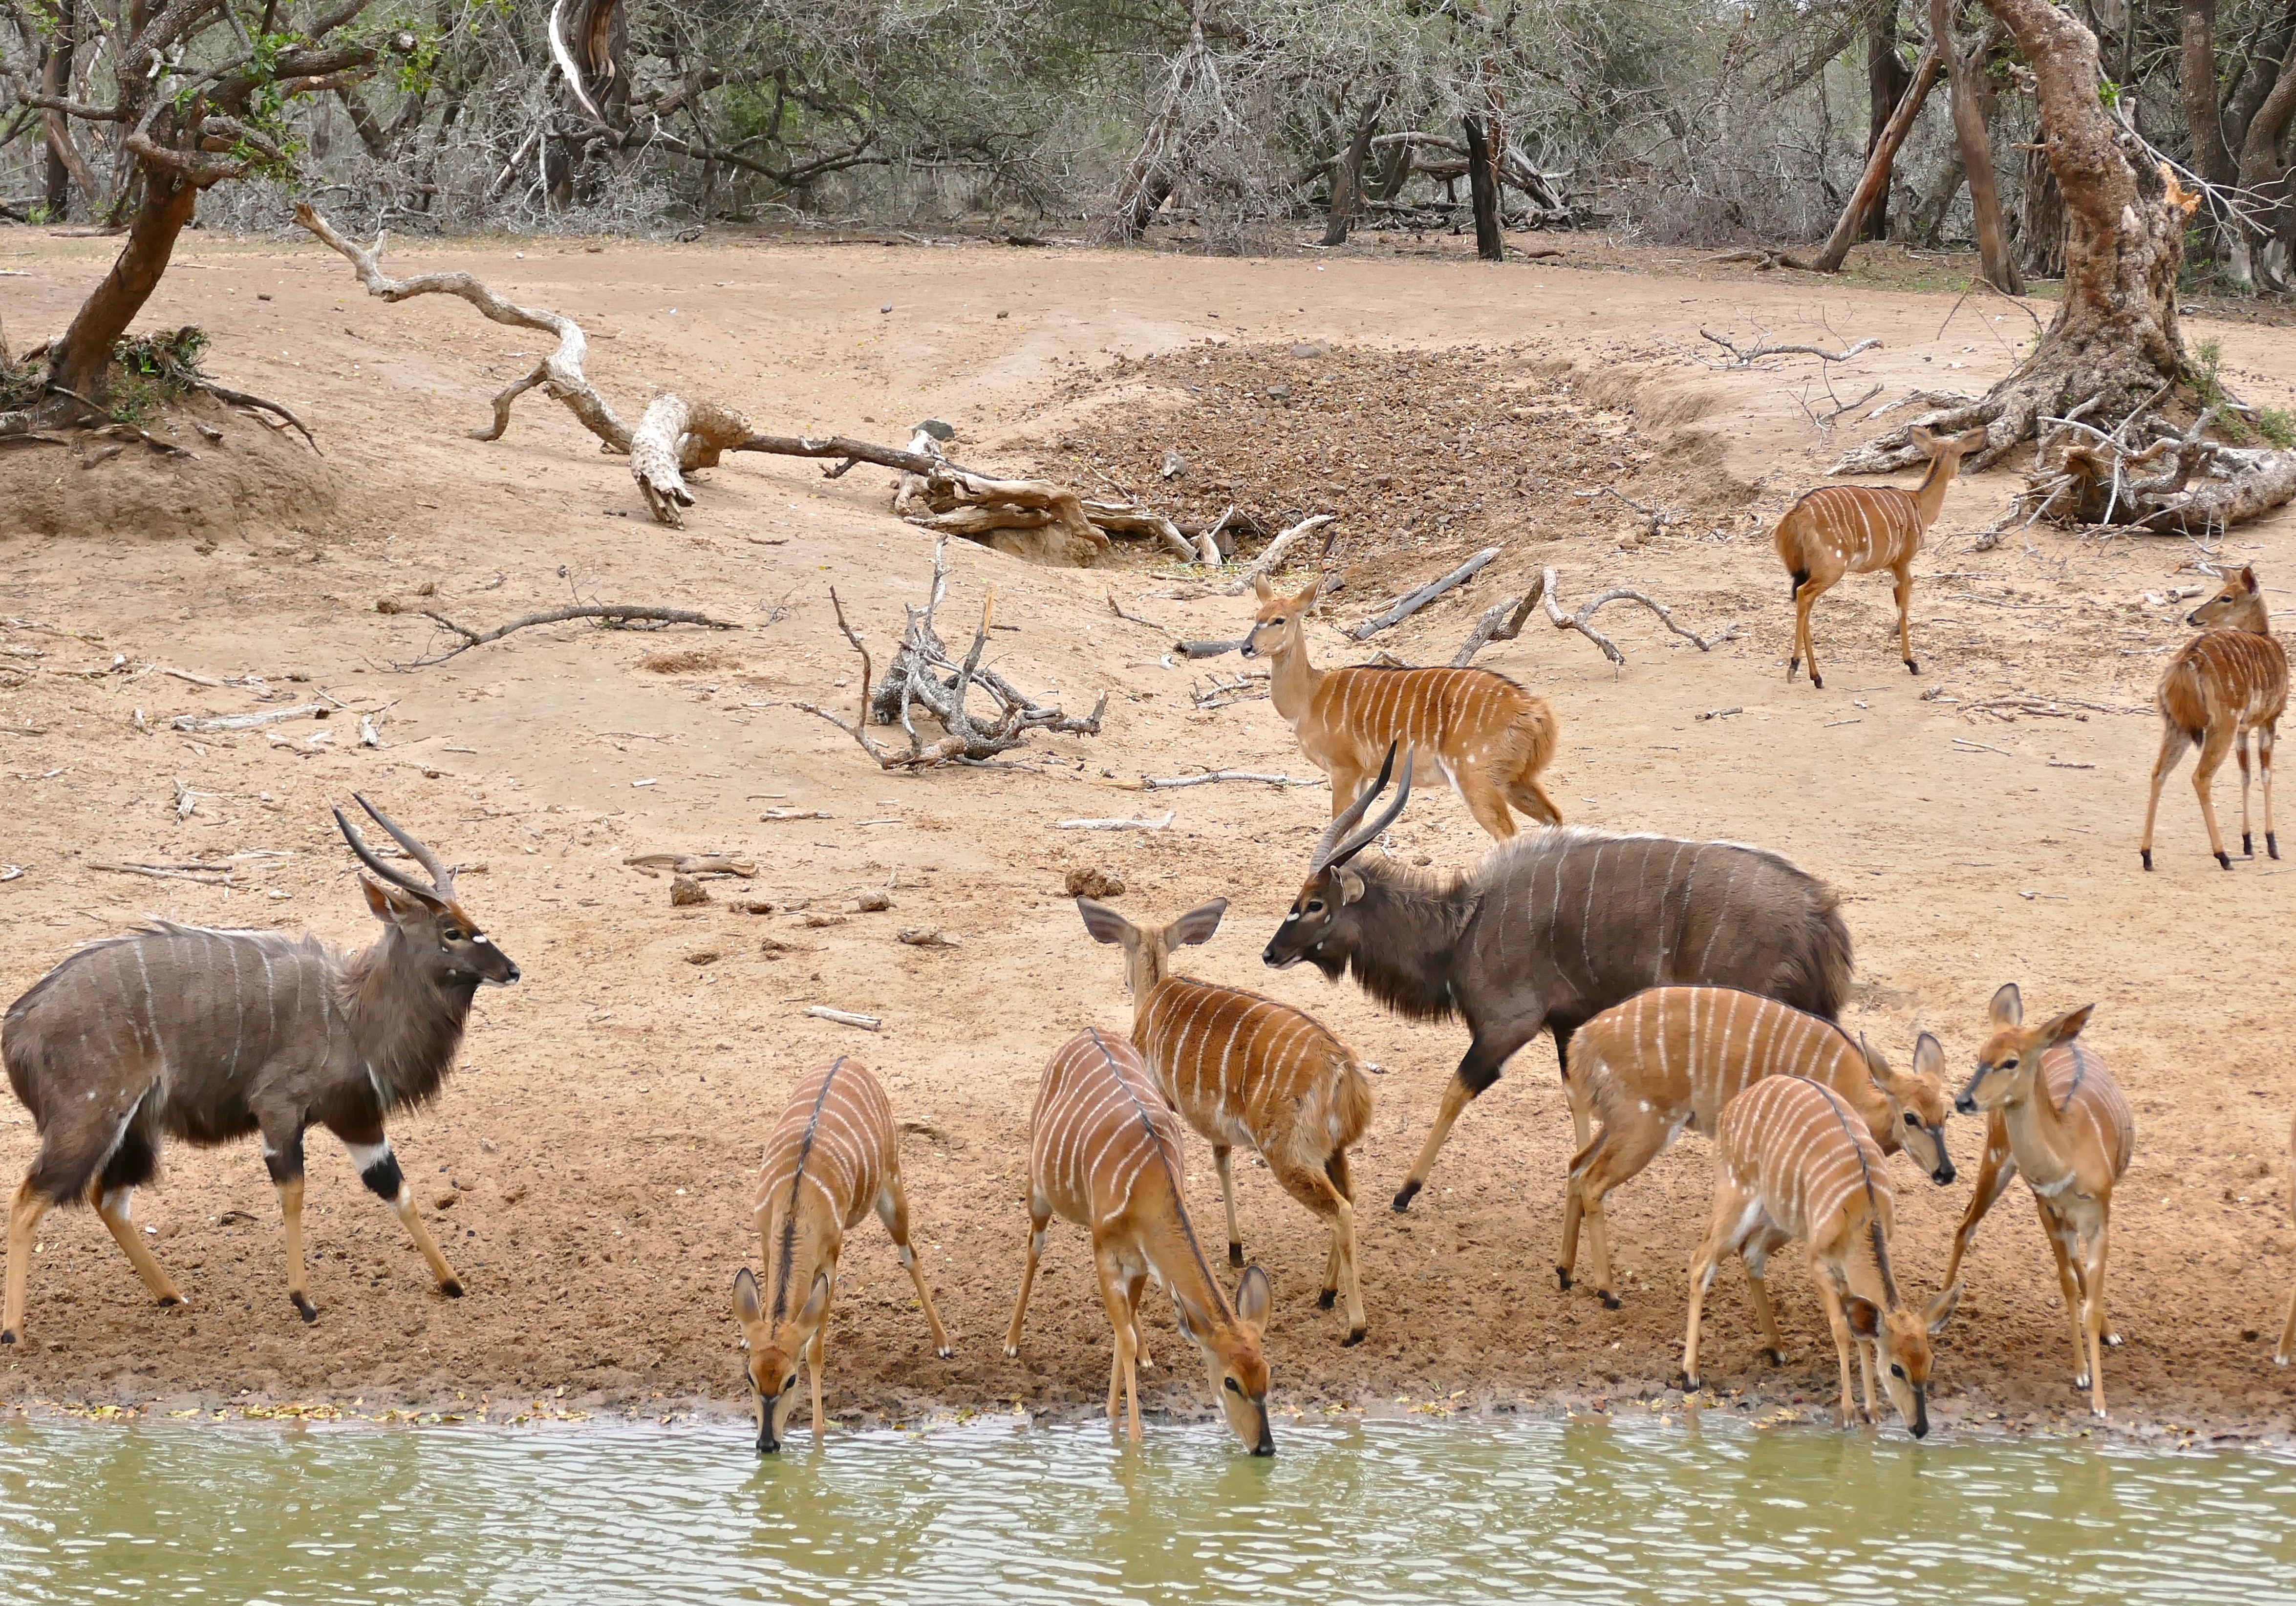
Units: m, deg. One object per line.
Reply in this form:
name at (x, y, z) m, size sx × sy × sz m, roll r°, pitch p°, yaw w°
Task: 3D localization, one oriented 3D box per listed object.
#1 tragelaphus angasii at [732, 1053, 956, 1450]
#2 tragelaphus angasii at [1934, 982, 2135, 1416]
tragelaphus angasii at (-1.154, 1.544, 9.090) m, size 0.592 × 0.875 × 1.447 m, roll 2°, pitch 29°, yaw 8°
tragelaphus angasii at (3.269, 1.383, 9.550) m, size 0.601 × 1.468 × 0.714 m, roll 5°, pitch 11°, yaw 21°
